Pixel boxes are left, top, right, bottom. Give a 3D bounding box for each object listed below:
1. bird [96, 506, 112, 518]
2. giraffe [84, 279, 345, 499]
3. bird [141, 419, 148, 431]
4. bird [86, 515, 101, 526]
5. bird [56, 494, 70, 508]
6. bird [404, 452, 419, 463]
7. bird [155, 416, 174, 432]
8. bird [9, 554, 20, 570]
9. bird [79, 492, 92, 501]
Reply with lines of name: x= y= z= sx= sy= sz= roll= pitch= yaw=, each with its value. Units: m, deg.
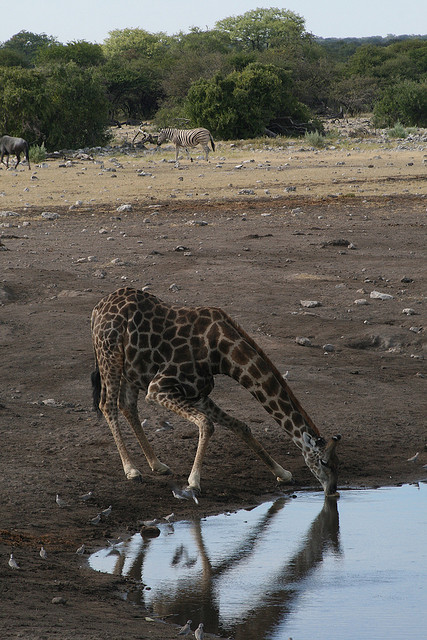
bird: x=-0.651 y=1.177 z=6.590 sx=0.103 sy=0.039 sz=0.063 roll=-11 pitch=16 yaw=-37
giraffe: x=-0.066 y=0.510 z=7.199 sx=1.928 sy=1.341 sz=0.568 roll=4 pitch=11 yaw=26
bird: x=-0.521 y=0.797 z=8.170 sx=0.021 sy=0.060 sz=0.077 roll=0 pitch=-10 yaw=-17
bird: x=-0.719 y=1.200 z=6.493 sx=0.074 sy=0.032 sz=0.120 roll=0 pitch=13 yaw=3
bird: x=-0.939 y=1.131 z=6.690 sx=0.083 sy=0.039 sz=0.100 roll=-12 pitch=17 yaw=-39
bird: x=1.393 y=0.978 z=7.638 sx=0.117 sy=0.083 sz=0.038 roll=-9 pitch=-15 yaw=2
bird: x=-0.355 y=0.780 z=8.040 sx=0.064 sy=0.112 sz=0.165 roll=-12 pitch=3 yaw=-19
bird: x=-1.027 y=1.260 z=5.611 sx=0.027 sy=0.061 sz=0.077 roll=-11 pitch=29 yaw=-27
bird: x=-0.801 y=1.111 z=6.788 sx=0.084 sy=0.063 sz=0.028 roll=15 pitch=-19 yaw=-14
